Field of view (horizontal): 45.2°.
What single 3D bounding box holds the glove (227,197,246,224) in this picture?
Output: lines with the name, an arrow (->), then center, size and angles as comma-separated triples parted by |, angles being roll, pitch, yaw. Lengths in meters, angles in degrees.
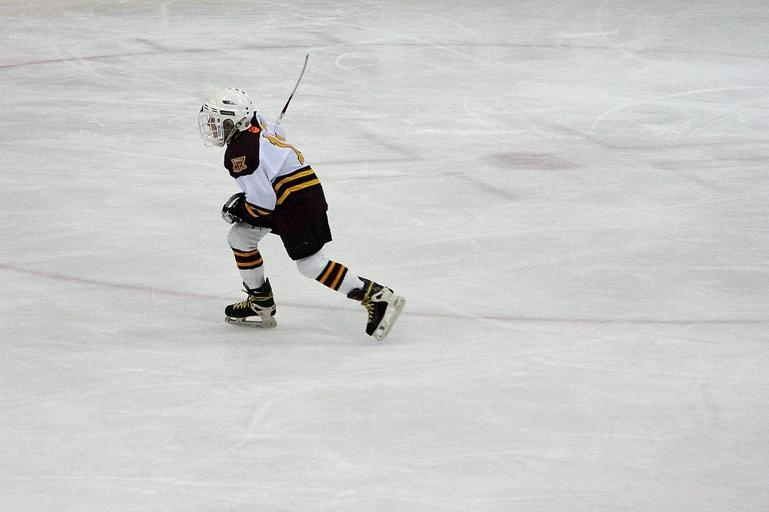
glove -> -0.789, -0.251, 5.023 | 0.076, 0.119, 0.122 | 21, -18, -32

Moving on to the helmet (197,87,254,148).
helmet -> -0.872, -0.765, 5.060 | 0.326, 0.313, 0.208 | 4, 10, 3

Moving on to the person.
person -> -0.488, -0.237, 5.084 | 1.076, 1.352, 0.428 | 2, 12, -8

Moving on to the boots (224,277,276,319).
boots -> -0.815, 0.264, 5.227 | 0.130, 0.168, 0.368 | 3, -1, 41
